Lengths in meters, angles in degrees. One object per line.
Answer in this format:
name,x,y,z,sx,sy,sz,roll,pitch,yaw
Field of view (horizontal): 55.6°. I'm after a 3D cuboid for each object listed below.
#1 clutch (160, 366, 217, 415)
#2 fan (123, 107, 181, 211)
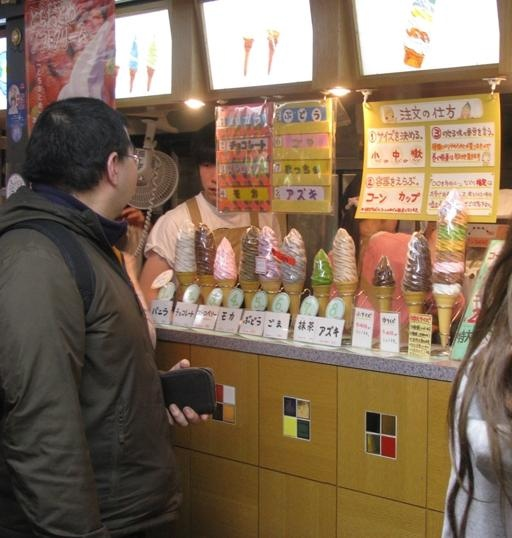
clutch,-0.237,0.418,1.648,0.162,0.151,0.056,-4,6,-6
fan,-0.696,-0.685,3.163,0.316,0.782,0.308,-13,22,-38
